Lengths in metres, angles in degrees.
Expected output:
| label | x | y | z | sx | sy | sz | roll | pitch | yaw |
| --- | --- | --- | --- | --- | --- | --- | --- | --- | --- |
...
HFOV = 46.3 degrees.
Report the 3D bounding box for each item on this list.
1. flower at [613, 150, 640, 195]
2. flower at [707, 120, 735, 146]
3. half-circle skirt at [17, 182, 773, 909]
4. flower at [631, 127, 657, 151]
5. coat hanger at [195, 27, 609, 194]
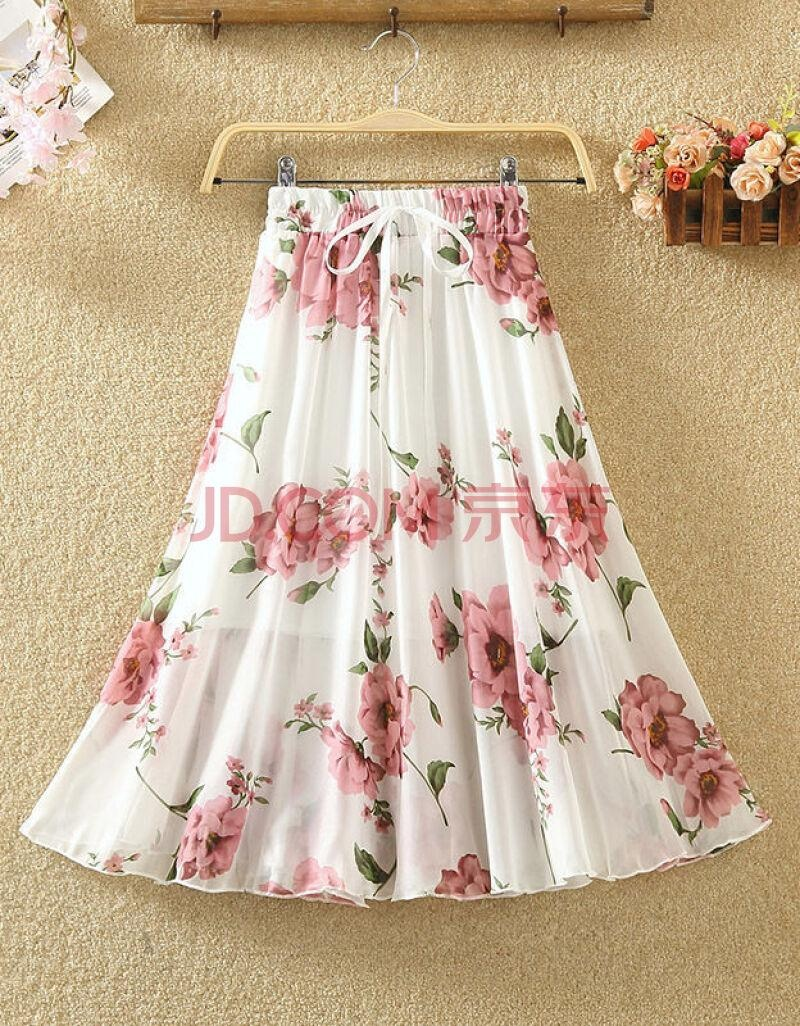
| label | x | y | z | sx | sy | sz | roll | pitch | yaw |
| --- | --- | --- | --- | --- | --- | --- | --- | --- | --- |
| flower | 0.354 | -0.533 | 1.465 | 0.033 | 0.059 | 0.060 | -1 | 77 | -2 |
| flower | 0.502 | -0.597 | 1.463 | 0.045 | 0.012 | 0.042 | 0 | 83 | -25 |
| half-circle skirt | 0.019 | 0.002 | 1.463 | 1.269 | 0.116 | 1.077 | -3 | 90 | -27 |
| flower | 0.380 | -0.578 | 1.448 | 0.021 | 0.039 | 0.037 | 17 | 76 | -33 |
| coat hanger | -0.006 | -0.611 | 1.504 | 0.614 | 0.161 | 0.226 | -2 | 48 | 1 |
